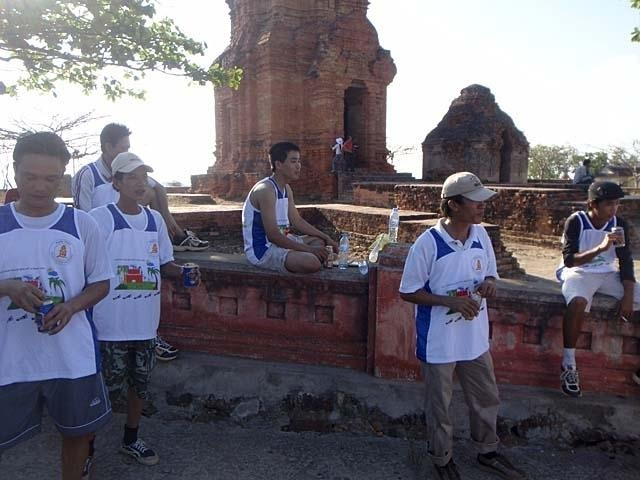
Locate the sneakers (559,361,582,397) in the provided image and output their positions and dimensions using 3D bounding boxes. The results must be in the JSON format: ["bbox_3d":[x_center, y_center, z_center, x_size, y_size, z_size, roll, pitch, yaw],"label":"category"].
[{"bbox_3d":[1.891,1.045,4.445,0.137,0.225,0.192,4,10,20],"label":"sneakers"}]

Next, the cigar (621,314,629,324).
[{"bbox_3d":[2.295,0.589,4.429,0.022,0.085,0.016,-20,32,29],"label":"cigar"}]

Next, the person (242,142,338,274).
[{"bbox_3d":[-0.265,-0.333,5.505,0.976,1.383,1.185,0,13,3],"label":"person"}]

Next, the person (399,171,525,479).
[{"bbox_3d":[0.921,0.567,3.929,0.780,1.998,0.464,1,9,6],"label":"person"}]

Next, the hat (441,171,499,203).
[{"bbox_3d":[0.994,-0.330,3.920,0.293,0.167,0.199,-2,13,22],"label":"hat"}]

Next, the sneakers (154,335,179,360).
[{"bbox_3d":[-1.385,0.943,5.073,0.306,0.151,0.125,12,15,26],"label":"sneakers"}]

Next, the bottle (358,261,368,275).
[{"bbox_3d":[0.364,0.249,5.072,0.085,0.115,0.089,3,0,0],"label":"bottle"}]

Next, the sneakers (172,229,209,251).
[{"bbox_3d":[-1.414,-0.001,6.412,0.461,0.248,0.166,0,5,-7],"label":"sneakers"}]

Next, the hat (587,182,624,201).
[{"bbox_3d":[2.203,-0.370,4.536,0.230,0.162,0.263,6,10,28],"label":"hat"}]

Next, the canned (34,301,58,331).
[{"bbox_3d":[-1.570,0.435,3.365,0.104,0.169,0.088,-7,12,-40],"label":"canned"}]

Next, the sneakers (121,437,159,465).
[{"bbox_3d":[-1.225,1.449,4.021,0.268,0.112,0.119,15,17,19],"label":"sneakers"}]

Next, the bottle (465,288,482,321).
[{"bbox_3d":[1.035,0.418,3.872,0.149,0.177,0.121,-12,3,-7],"label":"bottle"}]

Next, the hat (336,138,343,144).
[{"bbox_3d":[0.569,-2.932,17.496,0.190,0.184,0.416,1,9,1],"label":"hat"}]
